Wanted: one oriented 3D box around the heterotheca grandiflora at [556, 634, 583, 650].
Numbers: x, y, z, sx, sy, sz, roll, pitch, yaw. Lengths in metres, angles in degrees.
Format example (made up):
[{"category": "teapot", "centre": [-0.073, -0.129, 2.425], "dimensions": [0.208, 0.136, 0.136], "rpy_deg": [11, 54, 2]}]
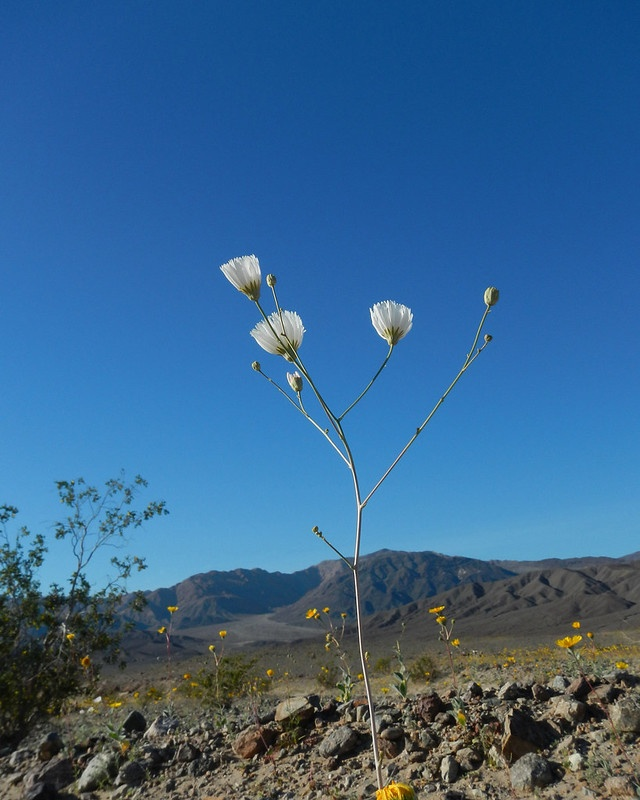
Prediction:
[{"category": "heterotheca grandiflora", "centre": [1.780, 1.723, 4.319], "dimensions": [0.159, 0.101, 0.309], "rpy_deg": [-15, -16, 16]}]
